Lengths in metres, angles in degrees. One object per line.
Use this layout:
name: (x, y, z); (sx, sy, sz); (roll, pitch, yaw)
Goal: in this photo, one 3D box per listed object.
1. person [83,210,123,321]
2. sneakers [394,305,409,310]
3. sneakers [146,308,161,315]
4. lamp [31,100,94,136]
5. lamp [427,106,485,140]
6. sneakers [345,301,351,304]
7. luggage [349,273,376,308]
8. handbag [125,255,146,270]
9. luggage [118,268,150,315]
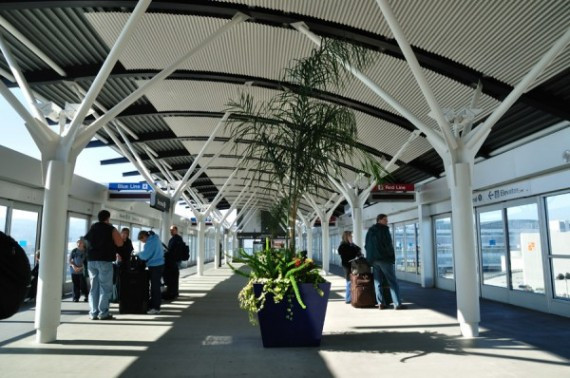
person: (-5.332, 2.170, 10.857); (0.938, 3.220, 0.863); (5, -14, -29)
sneakers: (3.821, 3.874, 12.175); (0.459, 0.204, 0.170); (0, -9, -11)
sneakers: (-4.141, 3.874, 11.775); (0.406, 0.195, 0.147); (18, -14, -19)
lamp: (-5.759, -1.706, 9.658); (0.939, 1.182, 1.057); (-6, -8, -30)
lamp: (4.500, -1.684, 9.745); (0.821, 0.951, 0.900); (-4, 7, 6)
sneakers: (2.340, 4.123, 13.527); (0.221, 0.091, 0.074); (3, -6, -38)
luggage: (2.721, 3.522, 12.961); (0.758, 1.052, 0.827); (4, -8, -8)
handbag: (-5.026, 2.552, 12.777); (0.495, 0.745, 0.285); (0, 10, 1)
luggage: (-4.984, 3.419, 12.082); (1.015, 1.409, 0.905); (3, -28, -25)
